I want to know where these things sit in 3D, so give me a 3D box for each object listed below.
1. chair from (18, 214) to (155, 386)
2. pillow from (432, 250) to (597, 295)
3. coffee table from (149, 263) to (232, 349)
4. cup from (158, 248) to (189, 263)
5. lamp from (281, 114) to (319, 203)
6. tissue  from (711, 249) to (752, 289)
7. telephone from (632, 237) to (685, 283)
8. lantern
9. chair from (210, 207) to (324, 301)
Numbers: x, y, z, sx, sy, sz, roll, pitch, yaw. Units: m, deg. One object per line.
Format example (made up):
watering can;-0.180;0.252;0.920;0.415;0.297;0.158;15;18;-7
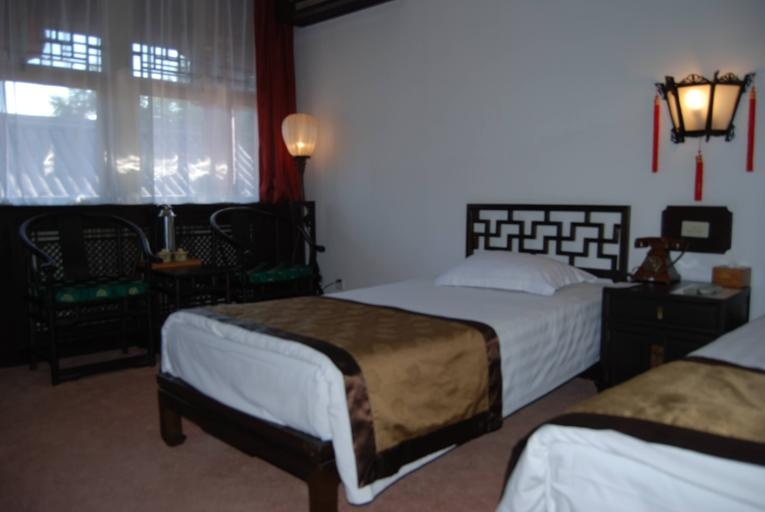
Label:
chair;-2.385;0.300;4.368;0.876;1.270;0.839;-5;9;-39
pillow;0.905;0.115;3.854;0.595;0.153;0.519;4;9;31
coffee table;-1.700;0.402;5.006;0.450;0.474;0.443;-7;5;-20
cup;-1.883;-0.007;4.841;0.200;0.091;0.122;0;0;-39
lamp;-0.831;-1.032;5.624;0.356;0.875;0.409;8;14;40
tissue ;2.303;0.081;3.554;0.216;0.165;0.221;4;7;42
telephone;1.898;0.017;3.659;0.184;0.309;0.334;-13;14;-42
lantern;2.169;-0.802;3.646;0.611;0.866;0.255;3;12;24
chair;-1.128;-0.036;5.308;0.622;0.893;1.057;6;8;39
